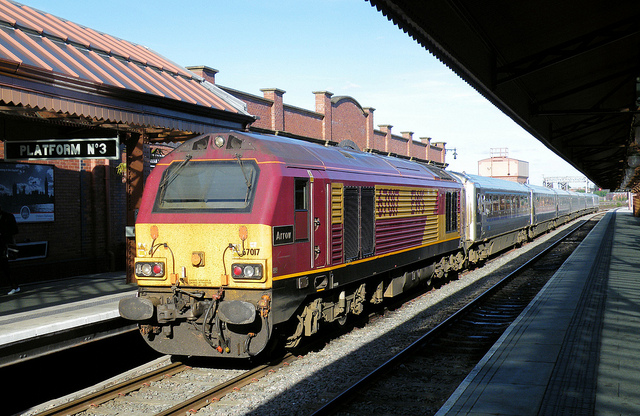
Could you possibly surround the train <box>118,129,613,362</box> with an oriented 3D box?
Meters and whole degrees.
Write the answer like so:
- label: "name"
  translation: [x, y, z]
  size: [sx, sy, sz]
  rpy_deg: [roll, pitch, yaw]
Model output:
- label: "train"
  translation: [7.052, 0.757, 25.440]
  size: [4.849, 6.197, 37.574]
  rpy_deg: [-1, -1, 28]
